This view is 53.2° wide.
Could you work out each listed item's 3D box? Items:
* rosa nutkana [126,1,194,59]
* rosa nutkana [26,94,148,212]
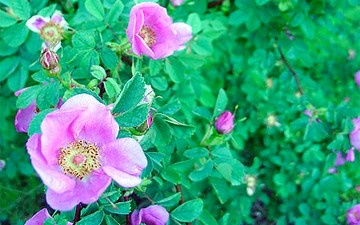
[{"bbox_3d":[-0.088,-0.280,1.344,0.198,0.102,0.217,-52,120,-20],"label":"rosa nutkana"},{"bbox_3d":[-0.318,0.143,1.192,0.309,0.192,0.333,-27,78,-36],"label":"rosa nutkana"}]
